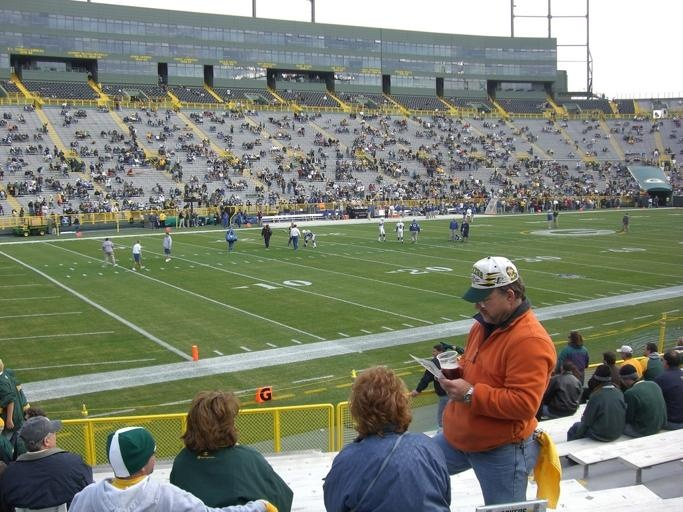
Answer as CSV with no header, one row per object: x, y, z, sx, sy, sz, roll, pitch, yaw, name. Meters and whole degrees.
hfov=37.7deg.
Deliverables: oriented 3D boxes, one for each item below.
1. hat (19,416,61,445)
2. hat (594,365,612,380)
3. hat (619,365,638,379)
-5.743,3.259,19.145,0.620,0.321,0.439,-22,43,-33,hat
5.612,2.485,21.514,0.311,0.341,0.343,-1,9,-2,hat
6.361,2.544,22.143,0.340,0.272,0.251,-29,20,-12,hat
